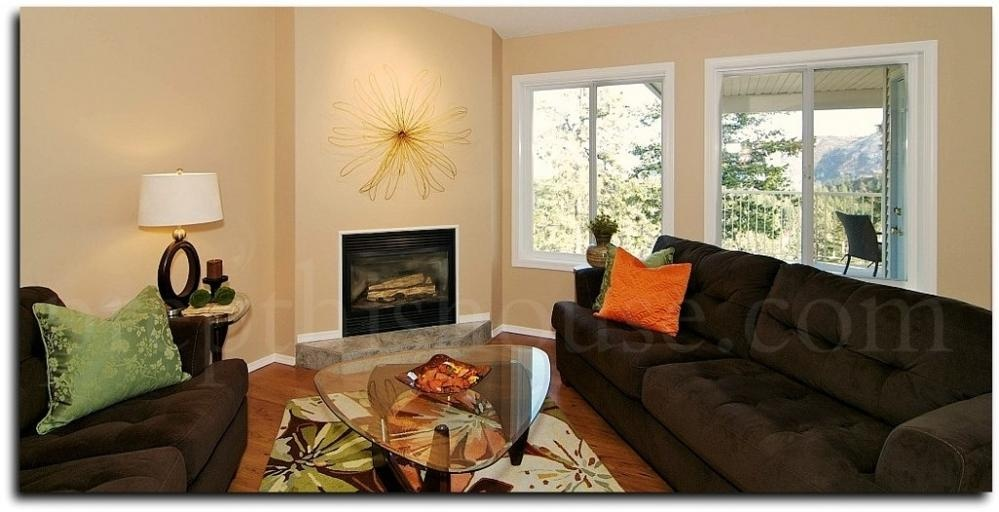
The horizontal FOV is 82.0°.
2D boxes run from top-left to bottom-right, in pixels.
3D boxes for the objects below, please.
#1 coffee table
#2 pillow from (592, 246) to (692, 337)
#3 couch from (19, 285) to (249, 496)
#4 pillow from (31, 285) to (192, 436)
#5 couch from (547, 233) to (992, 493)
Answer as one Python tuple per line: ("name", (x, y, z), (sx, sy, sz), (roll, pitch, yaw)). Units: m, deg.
("coffee table", (-0.506, 1.107, 4.412), (1.734, 0.524, 1.253), (1, 9, 6))
("pillow", (1.248, 0.303, 4.950), (0.826, 0.652, 0.239), (14, -4, 29))
("couch", (-2.639, 0.937, 4.533), (1.815, 1.411, 1.683), (-3, 0, -41))
("pillow", (-2.909, 0.694, 4.306), (0.536, 0.762, 1.154), (21, 9, 10))
("couch", (2.043, 0.855, 4.395), (0.981, 0.821, 2.070), (-8, 15, -26))
